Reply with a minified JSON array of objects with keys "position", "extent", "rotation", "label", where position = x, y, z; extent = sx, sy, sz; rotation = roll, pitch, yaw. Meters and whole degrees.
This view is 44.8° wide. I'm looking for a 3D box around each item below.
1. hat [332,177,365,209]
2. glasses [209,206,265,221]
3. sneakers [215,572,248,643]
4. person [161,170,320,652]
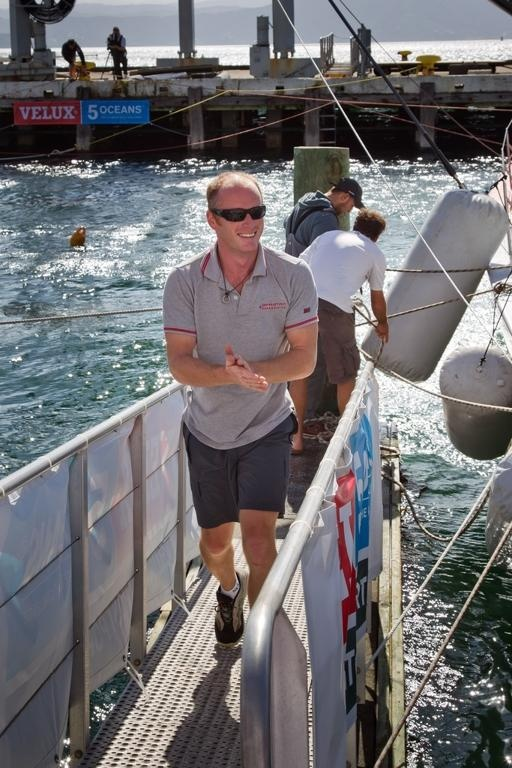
[{"position":[0.758,-1.566,5.071],"extent":[0.305,0.180,0.205],"rotation":[25,17,-24],"label":"hat"},{"position":[-0.048,-0.568,2.076],"extent":[0.195,0.066,0.114],"rotation":[-4,11,-16],"label":"glasses"},{"position":[-0.096,0.924,2.539],"extent":[0.101,0.312,0.130],"rotation":[-2,-6,20],"label":"sneakers"},{"position":[-0.072,0.190,2.195],"extent":[0.512,1.839,0.536],"rotation":[3,11,19],"label":"person"}]
